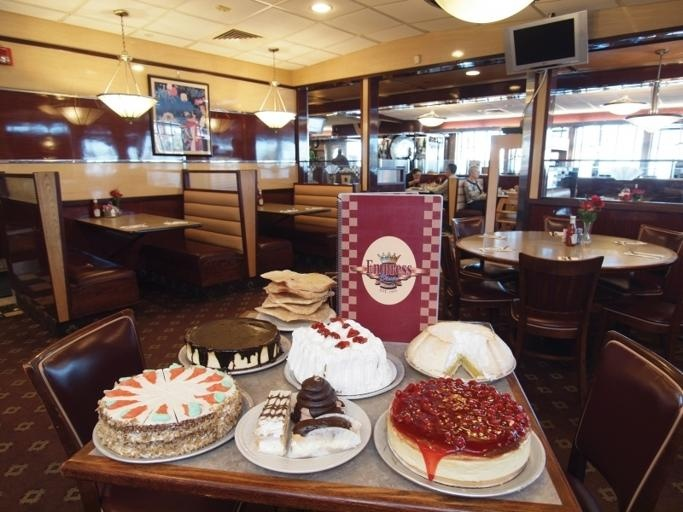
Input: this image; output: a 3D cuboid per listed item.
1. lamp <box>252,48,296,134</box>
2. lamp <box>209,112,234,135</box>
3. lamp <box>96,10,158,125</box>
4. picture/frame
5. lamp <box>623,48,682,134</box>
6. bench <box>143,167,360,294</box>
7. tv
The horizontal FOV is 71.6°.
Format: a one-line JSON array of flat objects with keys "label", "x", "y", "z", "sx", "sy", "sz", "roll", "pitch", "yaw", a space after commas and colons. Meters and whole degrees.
[{"label": "lamp", "x": -1.071, "y": -2.629, "z": 7.694, "sx": 0.618, "sy": 1.087, "sz": 1.390, "roll": -2, "pitch": 14, "yaw": -5}, {"label": "lamp", "x": -1.852, "y": -2.042, "z": 7.348, "sx": 0.093, "sy": 0.305, "sz": 0.398, "roll": 17, "pitch": 12, "yaw": 41}, {"label": "lamp", "x": -2.688, "y": -2.287, "z": 5.884, "sx": 0.662, "sy": 1.137, "sz": 1.085, "roll": -6, "pitch": 16, "yaw": -20}, {"label": "picture/frame", "x": -2.331, "y": -1.994, "z": 6.841, "sx": 0.157, "sy": 1.054, "sz": 0.990, "roll": 15, "pitch": 20, "yaw": 40}, {"label": "lamp", "x": 4.830, "y": -2.473, "z": 7.279, "sx": 0.700, "sy": 0.984, "sz": 1.659, "roll": 7, "pitch": 15, "yaw": 24}, {"label": "bench", "x": -1.689, "y": -0.373, "z": 6.187, "sx": 1.219, "sy": 1.495, "sz": 1.520, "roll": -14, "pitch": 20, "yaw": -42}, {"label": "tv", "x": 2.340, "y": -2.417, "z": 5.431, "sx": 0.891, "sy": 0.494, "sz": 0.326, "roll": 11, "pitch": 18, "yaw": 38}]
